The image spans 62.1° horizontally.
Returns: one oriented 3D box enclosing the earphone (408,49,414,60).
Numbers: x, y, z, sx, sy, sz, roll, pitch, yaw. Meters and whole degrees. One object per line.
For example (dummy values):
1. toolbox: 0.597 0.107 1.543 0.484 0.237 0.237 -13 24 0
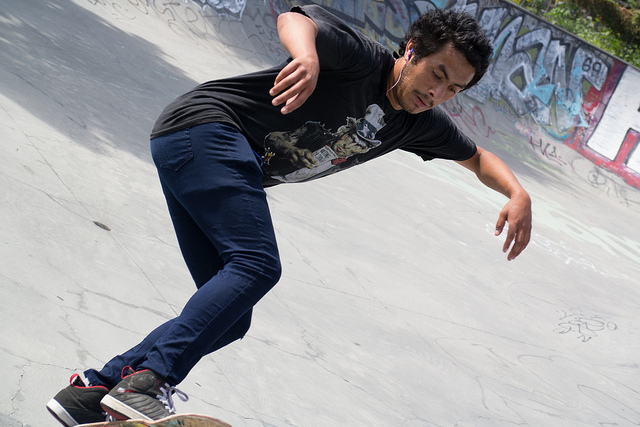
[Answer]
1. earphone: 0.626 -1.096 3.669 0.022 0.079 0.025 32 0 22
